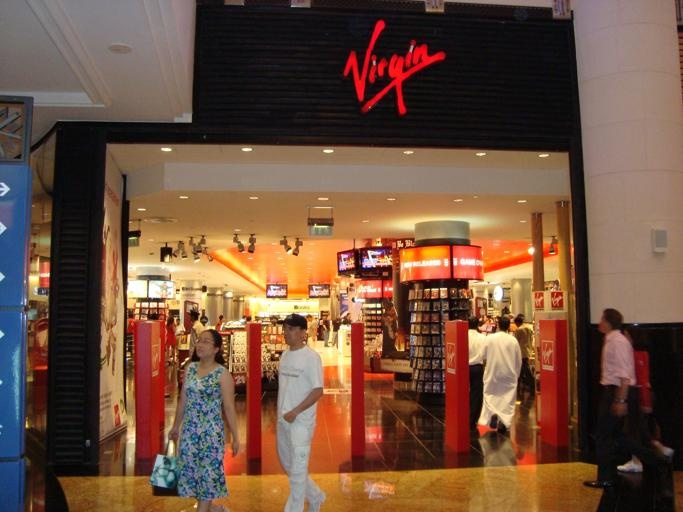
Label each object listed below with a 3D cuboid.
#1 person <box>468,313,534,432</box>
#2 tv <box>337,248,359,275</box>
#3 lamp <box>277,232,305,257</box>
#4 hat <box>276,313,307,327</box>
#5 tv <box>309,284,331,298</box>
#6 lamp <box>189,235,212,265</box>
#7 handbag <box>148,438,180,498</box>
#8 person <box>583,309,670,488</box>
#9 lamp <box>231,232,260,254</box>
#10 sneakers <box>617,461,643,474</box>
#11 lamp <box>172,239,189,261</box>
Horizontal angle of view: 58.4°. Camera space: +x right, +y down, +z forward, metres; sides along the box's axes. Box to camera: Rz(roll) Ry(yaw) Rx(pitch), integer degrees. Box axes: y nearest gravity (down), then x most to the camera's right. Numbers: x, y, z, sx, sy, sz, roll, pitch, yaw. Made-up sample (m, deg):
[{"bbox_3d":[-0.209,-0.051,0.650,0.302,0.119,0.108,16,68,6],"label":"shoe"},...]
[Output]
[{"bbox_3d":[2.300,1.713,8.978,0.675,1.622,0.463,-10,-12,44],"label":"person"},{"bbox_3d":[0.197,0.137,16.228,0.296,0.627,1.032,1,-9,-20],"label":"tv"},{"bbox_3d":[-1.234,-0.311,15.162,0.581,0.580,0.239,2,-40,-5],"label":"lamp"},{"bbox_3d":[-0.393,0.571,5.328,0.167,0.094,0.116,25,-21,-32],"label":"hat"},{"bbox_3d":[-1.338,2.123,37.618,1.175,0.847,2.248,-1,-9,-7],"label":"tv"},{"bbox_3d":[-3.570,-0.178,15.555,0.676,0.874,0.712,1,-1,16],"label":"lamp"},{"bbox_3d":[-1.465,1.836,5.098,0.216,0.343,0.174,1,-9,-19],"label":"handbag"},{"bbox_3d":[2.937,1.484,6.523,0.606,1.805,0.885,-7,-10,30],"label":"person"},{"bbox_3d":[-2.282,-0.336,14.698,0.510,0.508,0.197,0,7,4],"label":"lamp"},{"bbox_3d":[3.136,2.291,6.636,0.260,0.130,0.108,0,-8,7],"label":"sneakers"},{"bbox_3d":[-3.957,-0.186,15.091,0.470,0.559,0.326,-6,-12,40],"label":"lamp"}]
